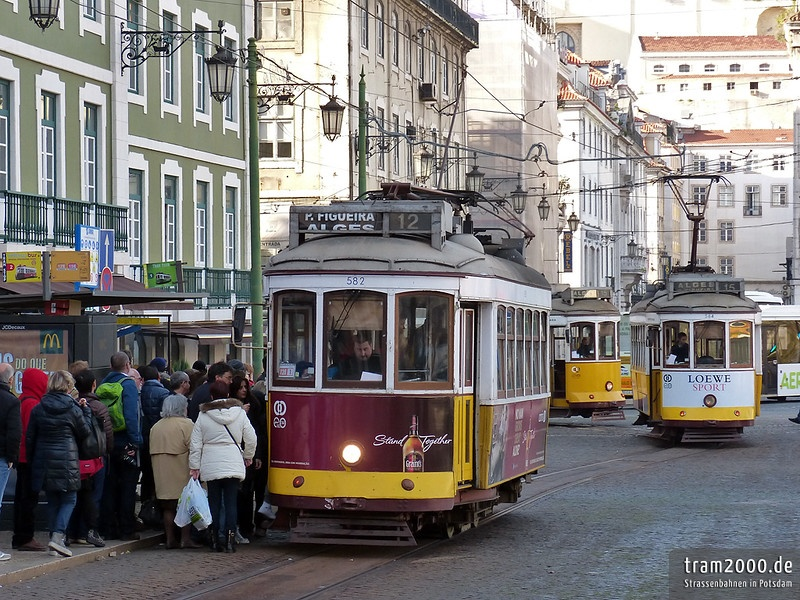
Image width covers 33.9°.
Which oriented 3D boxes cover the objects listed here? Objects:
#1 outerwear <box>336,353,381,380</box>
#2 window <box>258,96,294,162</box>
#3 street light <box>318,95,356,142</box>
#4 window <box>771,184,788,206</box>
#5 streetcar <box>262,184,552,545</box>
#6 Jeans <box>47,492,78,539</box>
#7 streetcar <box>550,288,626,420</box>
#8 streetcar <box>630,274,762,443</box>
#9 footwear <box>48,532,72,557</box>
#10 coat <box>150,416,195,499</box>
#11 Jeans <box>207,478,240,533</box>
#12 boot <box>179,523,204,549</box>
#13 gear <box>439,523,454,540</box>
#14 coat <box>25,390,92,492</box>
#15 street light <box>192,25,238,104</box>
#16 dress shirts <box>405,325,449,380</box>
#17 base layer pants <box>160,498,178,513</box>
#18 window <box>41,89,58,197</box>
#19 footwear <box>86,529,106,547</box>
[{"bbox_3d":[-0.519,0.846,16.228,0.392,0.364,0.097,4,-4,4],"label":"outerwear"},{"bbox_3d":[-4.252,-5.777,45.129,1.193,2.013,0.219,-1,-7,-2],"label":"window"},{"bbox_3d":[-1.410,-3.788,27.566,0.509,0.971,0.500,2,6,3],"label":"street light"},{"bbox_3d":[34.069,-9.465,118.280,1.825,2.356,0.266,2,6,7],"label":"window"},{"bbox_3d":[0.221,0.830,17.242,2.009,4.566,3.697,-3,-4,41],"label":"streetcar"},{"bbox_3d":[-3.968,2.509,15.455,0.321,0.530,0.255,1,-3,-15],"label":"Jeans"},{"bbox_3d":[5.137,1.366,37.038,1.470,2.772,5.268,-1,2,-2],"label":"streetcar"},{"bbox_3d":[6.472,1.243,29.528,2.009,3.953,3.119,1,-3,-14],"label":"streetcar"},{"bbox_3d":[-3.973,2.859,15.433,0.277,0.286,0.439,1,-4,-15],"label":"footwear"},{"bbox_3d":[-2.856,1.988,16.448,0.522,1.036,0.261,0,-3,-11],"label":"coat"},{"bbox_3d":[-2.186,2.509,16.197,0.425,1.165,0.294,0,28,-6],"label":"Jeans"},{"bbox_3d":[-2.641,2.972,16.579,0.233,0.283,0.372,0,-3,-10],"label":"boot"},{"bbox_3d":[0.573,3.034,17.315,0.234,0.252,0.256,0,-5,10],"label":"gear"},{"bbox_3d":[-4.048,1.764,15.541,0.716,1.581,0.530,2,-3,-4],"label":"coat"},{"bbox_3d":[-3.288,-4.279,23.486,0.833,1.456,0.533,3,3,43],"label":"street light"},{"bbox_3d":[0.333,0.661,16.203,0.583,0.666,0.135,1,-3,-28],"label":"dress shirts"},{"bbox_3d":[-2.849,2.558,16.448,0.195,0.185,0.051,4,7,14],"label":"base layer pants"},{"bbox_3d":[-7.568,-3.209,28.329,0.111,2.363,0.893,-7,17,-40],"label":"window"},{"bbox_3d":[-3.700,2.901,15.982,0.121,0.151,0.370,2,-1,17],"label":"footwear"}]
